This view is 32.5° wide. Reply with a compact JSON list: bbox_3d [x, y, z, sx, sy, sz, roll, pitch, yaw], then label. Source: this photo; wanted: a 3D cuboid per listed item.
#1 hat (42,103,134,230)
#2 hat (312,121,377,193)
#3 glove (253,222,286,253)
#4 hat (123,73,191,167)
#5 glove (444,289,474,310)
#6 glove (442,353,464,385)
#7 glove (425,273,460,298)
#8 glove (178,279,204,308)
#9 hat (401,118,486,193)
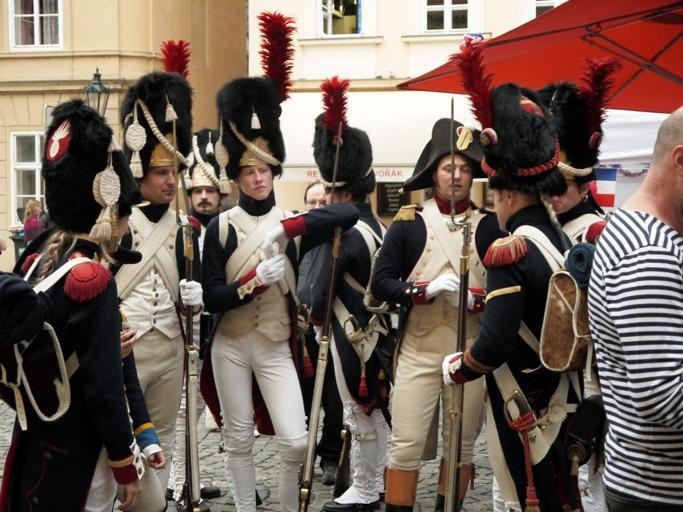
[{"bbox_3d":[-1.353,-0.461,6.185,0.530,0.619,0.350,0,7,7],"label":"hat"},{"bbox_3d":[-0.026,-0.672,8.255,0.407,0.482,0.440,-1,-14,-7],"label":"hat"},{"bbox_3d":[-0.448,-0.103,7.321,0.071,0.201,0.160,24,34,22],"label":"glove"},{"bbox_3d":[-1.182,-0.867,7.535,0.471,0.630,0.344,-2,9,-9],"label":"hat"},{"bbox_3d":[0.721,0.269,7.230,0.160,0.079,0.111,0,2,9],"label":"glove"},{"bbox_3d":[0.645,0.631,6.605,0.063,0.173,0.110,28,-6,-29],"label":"glove"},{"bbox_3d":[0.624,0.183,7.297,0.206,0.160,0.249,0,8,4],"label":"glove"},{"bbox_3d":[-0.932,0.237,7.357,0.189,0.161,0.128,0,-2,-7],"label":"glove"},{"bbox_3d":[0.619,-0.647,7.553,0.478,0.317,0.662,-3,5,17],"label":"hat"}]
